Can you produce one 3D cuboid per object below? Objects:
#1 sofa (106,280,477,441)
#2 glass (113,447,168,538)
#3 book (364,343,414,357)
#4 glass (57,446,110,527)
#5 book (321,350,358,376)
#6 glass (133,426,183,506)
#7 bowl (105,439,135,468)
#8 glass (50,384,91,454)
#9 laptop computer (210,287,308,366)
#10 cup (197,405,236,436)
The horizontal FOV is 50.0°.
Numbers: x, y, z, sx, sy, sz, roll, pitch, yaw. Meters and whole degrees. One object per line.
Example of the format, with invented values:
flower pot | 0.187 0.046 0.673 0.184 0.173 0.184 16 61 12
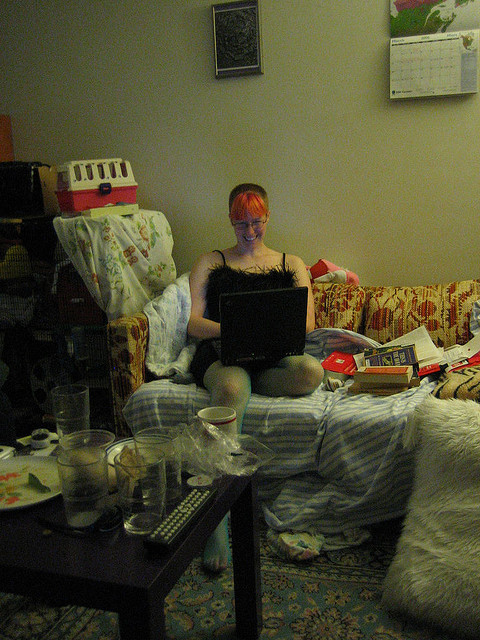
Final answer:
sofa | 0.378 0.015 2.447 1.519 0.603 0.603 -7 17 -10
glass | -0.162 0.287 0.846 0.083 0.115 0.074 -1 -9 -24
book | 0.547 0.108 1.871 0.194 0.018 0.104 -6 -6 -5
glass | -0.257 0.281 0.856 0.074 0.114 0.076 14 15 43
book | 0.377 0.163 1.949 0.127 0.050 0.123 0 11 10
glass | -0.154 0.258 0.942 0.097 0.140 0.092 -5 -21 15
bowl | -0.231 0.262 1.046 0.079 0.017 0.072 0 8 0
glass | -0.383 0.227 1.170 0.082 0.122 0.078 -3 -7 -21
laptop computer | 0.039 0.011 1.699 0.309 0.274 0.248 -4 31 -10
cup | -0.060 0.235 1.224 0.059 0.063 0.075 0 6 9
